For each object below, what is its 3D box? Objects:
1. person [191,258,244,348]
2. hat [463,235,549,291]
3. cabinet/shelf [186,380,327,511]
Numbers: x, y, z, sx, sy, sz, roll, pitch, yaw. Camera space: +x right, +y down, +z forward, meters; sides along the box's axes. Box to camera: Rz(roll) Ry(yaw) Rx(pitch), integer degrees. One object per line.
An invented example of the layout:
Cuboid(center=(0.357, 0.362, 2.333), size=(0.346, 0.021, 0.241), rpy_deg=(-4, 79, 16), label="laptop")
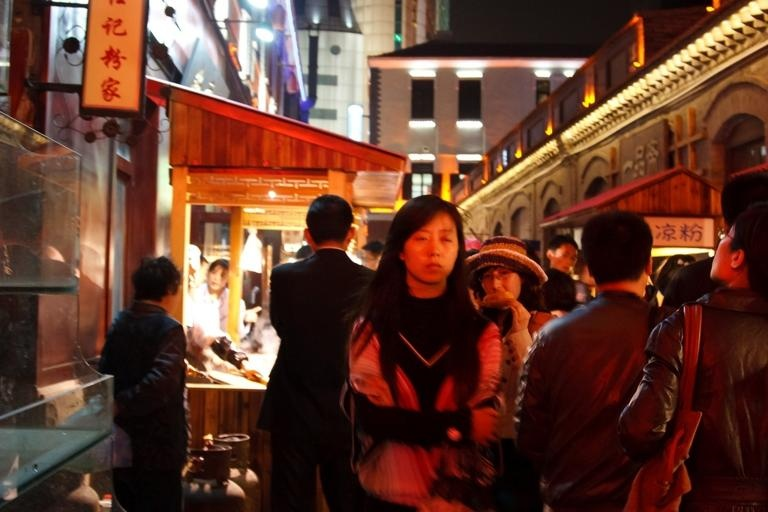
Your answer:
Cuboid(center=(-1.955, 0.503, 8.544), size=(0.605, 0.998, 2.360), rpy_deg=(2, -4, -11), label="person")
Cuboid(center=(0.961, 0.054, 5.706), size=(0.737, 0.379, 0.874), rpy_deg=(4, -16, 13), label="hat")
Cuboid(center=(-1.094, 1.625, 7.205), size=(1.577, 1.508, 1.059), rpy_deg=(-1, -7, 1), label="cabinet/shelf")
